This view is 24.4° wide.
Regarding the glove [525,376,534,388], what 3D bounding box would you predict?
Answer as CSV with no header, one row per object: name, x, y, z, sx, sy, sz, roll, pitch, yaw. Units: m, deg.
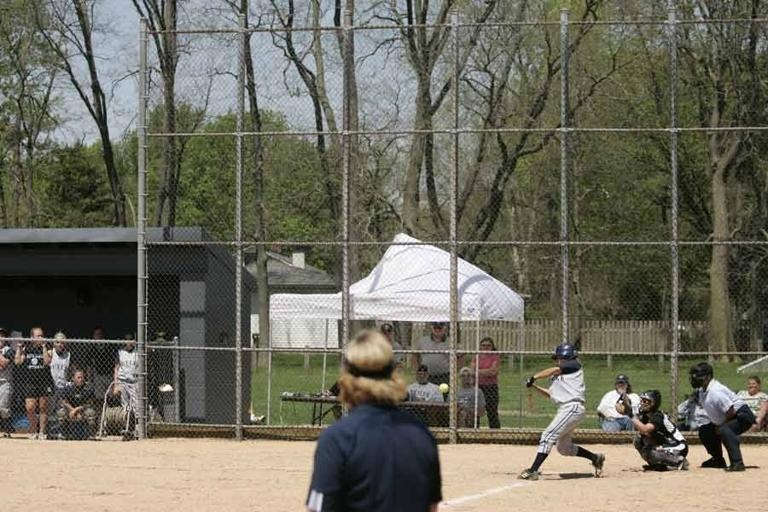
glove,3.606,3.183,44.055,0.189,0.255,0.324,-3,-7,7

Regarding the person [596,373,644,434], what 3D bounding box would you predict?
person,6.255,3.997,47.333,0.938,1.577,1.241,-2,0,4

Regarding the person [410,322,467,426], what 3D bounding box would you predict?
person,1.523,3.284,47.610,0.986,2.845,1.151,0,-2,0

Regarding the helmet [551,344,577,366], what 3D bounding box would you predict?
helmet,4.511,2.552,44.618,0.540,0.575,0.425,6,3,32

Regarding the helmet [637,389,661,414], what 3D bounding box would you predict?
helmet,6.781,3.809,45.467,0.562,0.565,0.469,9,-8,-4

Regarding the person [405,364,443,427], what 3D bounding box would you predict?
person,1.116,3.762,47.403,0.813,1.700,1.027,-2,2,-3

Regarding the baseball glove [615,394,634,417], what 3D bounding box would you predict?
baseball glove,6.267,3.961,46.939,0.389,0.563,0.254,9,-48,-31

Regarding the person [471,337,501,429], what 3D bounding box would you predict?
person,2.728,3.469,47.527,0.855,2.230,0.749,-1,2,6
